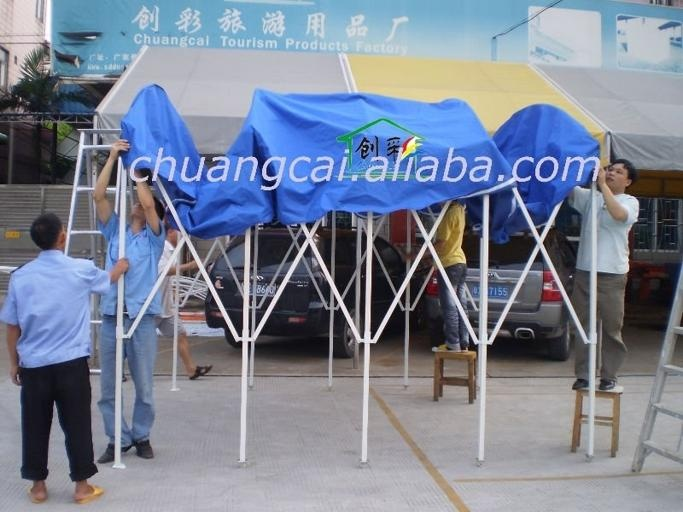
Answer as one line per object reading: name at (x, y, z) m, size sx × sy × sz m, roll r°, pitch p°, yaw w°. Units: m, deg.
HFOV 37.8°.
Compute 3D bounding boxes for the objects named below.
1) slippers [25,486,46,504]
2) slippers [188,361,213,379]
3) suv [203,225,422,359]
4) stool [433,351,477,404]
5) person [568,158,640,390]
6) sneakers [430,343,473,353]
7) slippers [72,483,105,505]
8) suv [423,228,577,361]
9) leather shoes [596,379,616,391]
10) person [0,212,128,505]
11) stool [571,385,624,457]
slippers at (-3.278, 2.559, 10.720) m, size 0.165 × 0.109 × 0.309 m, roll 5°, pitch 4°, yaw -22°
slippers at (-1.988, 1.607, 14.057) m, size 0.306 × 0.123 × 0.156 m, roll -22°, pitch 17°, yaw -39°
suv at (-0.337, 0.474, 15.704) m, size 1.702 × 1.295 × 3.725 m, roll 0°, pitch 2°, yaw 36°
stool at (1.514, 1.607, 13.515) m, size 0.662 × 0.574 × 0.654 m, roll 1°, pitch -2°, yaw 14°
person at (3.094, 0.236, 11.932) m, size 0.719 × 2.708 × 0.892 m, roll 4°, pitch 13°, yaw 14°
sneakers at (1.475, 1.272, 13.704) m, size 0.445 × 0.125 × 0.258 m, roll -4°, pitch -5°, yaw 23°
slippers at (-2.719, 2.546, 10.749) m, size 0.156 × 0.098 × 0.283 m, roll 4°, pitch 6°, yaw 29°
suv at (2.601, 0.565, 14.942) m, size 1.406 × 1.177 × 2.898 m, roll 1°, pitch 7°, yaw 23°
leather shoes at (3.134, 1.521, 11.833) m, size 0.194 × 0.081 × 0.114 m, roll -9°, pitch 8°, yaw -34°
person at (-3.098, 1.096, 10.750) m, size 1.034 × 2.980 × 0.780 m, roll -1°, pitch 13°, yaw -11°
stool at (3.055, 1.946, 11.975) m, size 0.653 × 0.759 × 0.665 m, roll 4°, pitch -2°, yaw 3°
